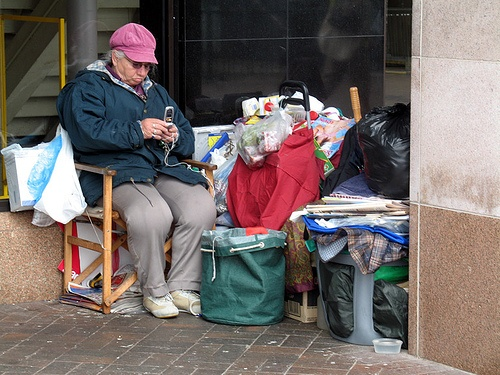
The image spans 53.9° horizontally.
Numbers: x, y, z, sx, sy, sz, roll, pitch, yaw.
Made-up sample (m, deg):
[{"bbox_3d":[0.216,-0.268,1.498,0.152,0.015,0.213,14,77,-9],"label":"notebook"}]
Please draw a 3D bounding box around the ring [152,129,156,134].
[{"bbox_3d":[-0.711,-0.420,3.657,0.027,0.028,0.018,-3,22,-32],"label":"ring"}]

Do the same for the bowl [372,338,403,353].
[{"bbox_3d":[0.810,0.926,2.892,0.098,0.037,0.102,-2,0,0],"label":"bowl"}]

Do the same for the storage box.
[{"bbox_3d":[-1.676,-0.044,3.826,0.412,0.597,0.567,2,-4,-31],"label":"storage box"}]

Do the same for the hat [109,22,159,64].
[{"bbox_3d":[-0.891,-1.131,3.812,0.306,0.253,0.439,16,19,5],"label":"hat"}]

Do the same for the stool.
[{"bbox_3d":[-0.897,0.369,4.067,0.781,1.170,1.130,2,1,42],"label":"stool"}]

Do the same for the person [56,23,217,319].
[{"bbox_3d":[-0.788,-0.178,3.756,1.043,2.135,0.755,2,6,19],"label":"person"}]

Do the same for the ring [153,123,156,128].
[{"bbox_3d":[-0.711,-0.465,3.654,0.025,0.020,0.037,5,45,-6],"label":"ring"}]

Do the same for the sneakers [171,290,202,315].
[{"bbox_3d":[-0.467,0.820,3.645,0.371,0.137,0.143,-6,17,44],"label":"sneakers"}]
